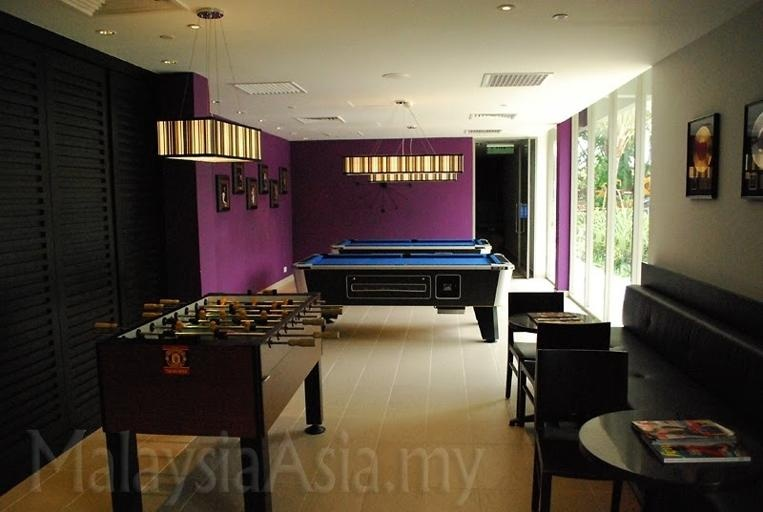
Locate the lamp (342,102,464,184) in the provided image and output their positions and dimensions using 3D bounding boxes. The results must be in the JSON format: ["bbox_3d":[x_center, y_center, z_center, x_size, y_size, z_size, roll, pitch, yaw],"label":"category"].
[{"bbox_3d":[0.385,-1.788,7.932,1.428,0.903,1.442,1,8,13],"label":"lamp"}]

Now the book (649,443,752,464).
[{"bbox_3d":[1.787,1.115,2.995,0.490,0.046,0.123,-1,11,0],"label":"book"}]
